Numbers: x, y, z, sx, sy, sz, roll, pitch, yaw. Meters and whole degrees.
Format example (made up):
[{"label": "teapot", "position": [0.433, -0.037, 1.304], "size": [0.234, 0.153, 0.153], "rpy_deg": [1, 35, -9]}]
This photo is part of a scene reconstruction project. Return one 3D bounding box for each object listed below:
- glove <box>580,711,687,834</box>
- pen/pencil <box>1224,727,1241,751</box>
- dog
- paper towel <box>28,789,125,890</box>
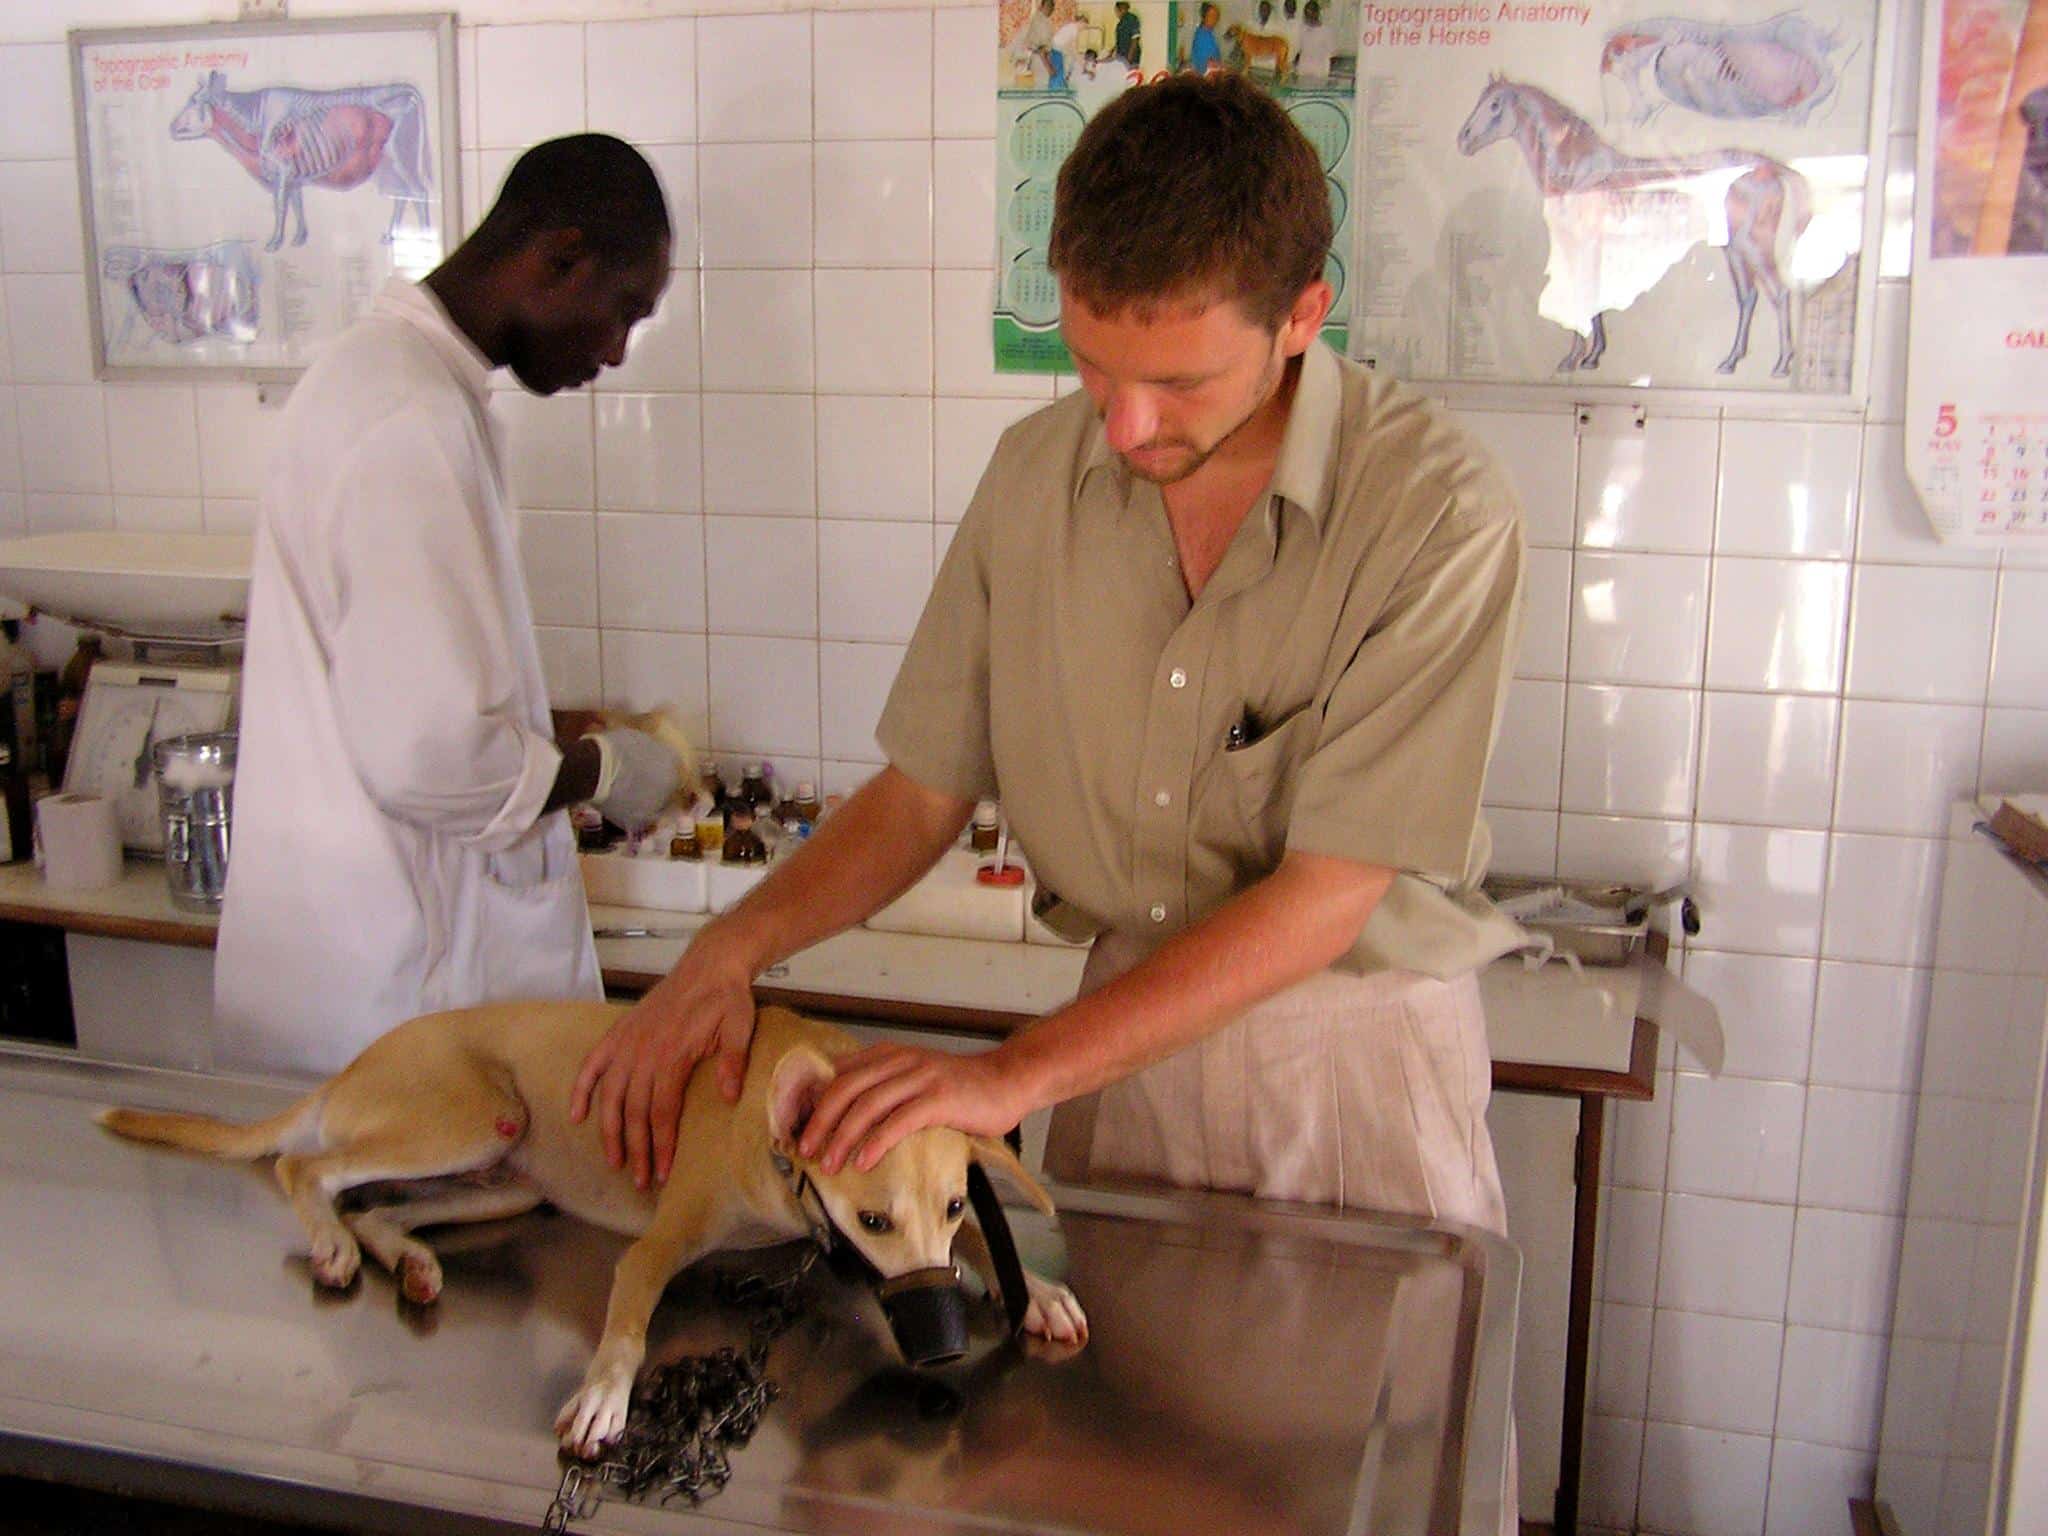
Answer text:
[{"label": "glove", "position": [-0.669, 0.012, 2.785], "size": [0.127, 0.200, 0.180], "rpy_deg": [12, 5, 26]}, {"label": "pen/pencil", "position": [0.210, -0.029, 1.672], "size": [0.019, 0.022, 0.020], "rpy_deg": [1, 3, 37]}, {"label": "dog", "position": [-0.448, 0.394, 1.590], "size": [0.757, 0.388, 0.359], "rpy_deg": [13, 0, 11]}, {"label": "paper towel", "position": [-1.775, 0.130, 3.065], "size": [0.149, 0.195, 0.161], "rpy_deg": [0, 4, 1]}]
